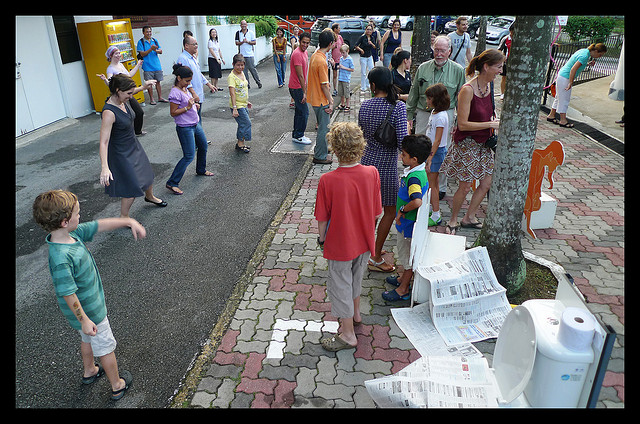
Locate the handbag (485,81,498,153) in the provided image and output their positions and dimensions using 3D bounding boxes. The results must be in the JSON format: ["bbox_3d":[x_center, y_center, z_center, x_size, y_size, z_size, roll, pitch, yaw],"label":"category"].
[{"bbox_3d":[2.475,-1.384,6.092,0.151,1.071,0.292,-3,-7,22],"label":"handbag"}]

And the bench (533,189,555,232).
[{"bbox_3d":[3.496,0.008,6.516,0.310,0.401,0.564,2,33,14],"label":"bench"}]

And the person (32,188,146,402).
[{"bbox_3d":[-2.530,0.992,4.576,1.247,2.615,0.961,-10,35,-35],"label":"person"}]

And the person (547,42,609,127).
[{"bbox_3d":[6.812,-3.453,11.180,1.214,2.223,1.214,-3,-7,21],"label":"person"}]

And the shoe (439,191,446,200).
[{"bbox_3d":[2.235,-0.299,7.590,0.222,0.151,0.076,5,-9,-40],"label":"shoe"}]

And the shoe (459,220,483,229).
[{"bbox_3d":[2.416,0.209,6.628,0.316,0.083,0.112,0,9,5],"label":"shoe"}]

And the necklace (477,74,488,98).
[{"bbox_3d":[2.300,-1.749,5.915,0.234,0.227,0.043,4,-8,-33],"label":"necklace"}]

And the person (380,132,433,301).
[{"bbox_3d":[1.037,0.051,5.339,0.536,2.130,1.426,0,-7,-3],"label":"person"}]

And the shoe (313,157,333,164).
[{"bbox_3d":[0.061,-1.091,8.987,0.434,0.178,0.129,-2,23,-1],"label":"shoe"}]

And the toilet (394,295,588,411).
[{"bbox_3d":[1.436,1.385,3.750,1.505,0.935,0.848,-1,37,12],"label":"toilet"}]

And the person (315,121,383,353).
[{"bbox_3d":[0.320,0.278,4.429,0.672,2.461,0.668,-1,-7,7],"label":"person"}]

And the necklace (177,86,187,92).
[{"bbox_3d":[-2.481,-2.220,7.489,0.109,0.027,0.112,23,-2,-28],"label":"necklace"}]

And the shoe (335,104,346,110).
[{"bbox_3d":[0.646,-3.227,12.820,0.345,0.207,0.189,-2,-7,13],"label":"shoe"}]

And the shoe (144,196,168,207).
[{"bbox_3d":[-2.879,-0.170,7.396,0.439,0.116,0.146,6,20,-1],"label":"shoe"}]

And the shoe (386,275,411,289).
[{"bbox_3d":[0.999,0.906,5.407,0.220,0.160,0.416,2,-7,-18],"label":"shoe"}]

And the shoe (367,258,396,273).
[{"bbox_3d":[0.863,0.716,5.740,0.468,0.180,0.180,2,23,9],"label":"shoe"}]

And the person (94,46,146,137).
[{"bbox_3d":[-4.873,-2.940,10.388,0.666,2.180,1.237,27,38,32],"label":"person"}]

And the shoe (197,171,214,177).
[{"bbox_3d":[-2.317,-0.776,8.492,0.243,0.064,0.086,-3,21,-4],"label":"shoe"}]

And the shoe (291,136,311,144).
[{"bbox_3d":[-0.455,-1.767,10.191,0.493,0.189,0.175,2,20,6],"label":"shoe"}]

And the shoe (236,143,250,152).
[{"bbox_3d":[-1.768,-1.485,9.674,0.290,0.120,0.106,20,31,32],"label":"shoe"}]

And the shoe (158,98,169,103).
[{"bbox_3d":[-5.171,-3.688,13.785,0.299,0.116,0.097,-4,24,-18],"label":"shoe"}]

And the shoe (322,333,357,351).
[{"bbox_3d":[0.213,1.420,4.561,0.319,0.129,0.161,1,12,-5],"label":"shoe"}]

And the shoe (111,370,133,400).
[{"bbox_3d":[-1.979,1.741,4.200,0.099,0.080,0.246,7,43,9],"label":"shoe"}]

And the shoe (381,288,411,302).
[{"bbox_3d":[0.953,1.051,5.232,0.286,0.107,0.152,2,8,0],"label":"shoe"}]

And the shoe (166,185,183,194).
[{"bbox_3d":[-2.715,-0.398,7.760,0.229,0.087,0.077,32,32,3],"label":"shoe"}]

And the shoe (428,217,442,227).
[{"bbox_3d":[1.864,0.156,6.684,0.353,0.157,0.096,6,-9,-43],"label":"shoe"}]

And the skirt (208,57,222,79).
[{"bbox_3d":[-3.890,-5.330,15.331,0.446,0.655,0.574,0,-7,-6],"label":"skirt"}]

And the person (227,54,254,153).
[{"bbox_3d":[-1.792,-2.475,9.465,0.481,2.140,1.474,1,-7,-9],"label":"person"}]

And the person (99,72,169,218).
[{"bbox_3d":[-2.929,-0.974,6.334,0.602,2.015,0.937,1,-7,-14],"label":"person"}]
